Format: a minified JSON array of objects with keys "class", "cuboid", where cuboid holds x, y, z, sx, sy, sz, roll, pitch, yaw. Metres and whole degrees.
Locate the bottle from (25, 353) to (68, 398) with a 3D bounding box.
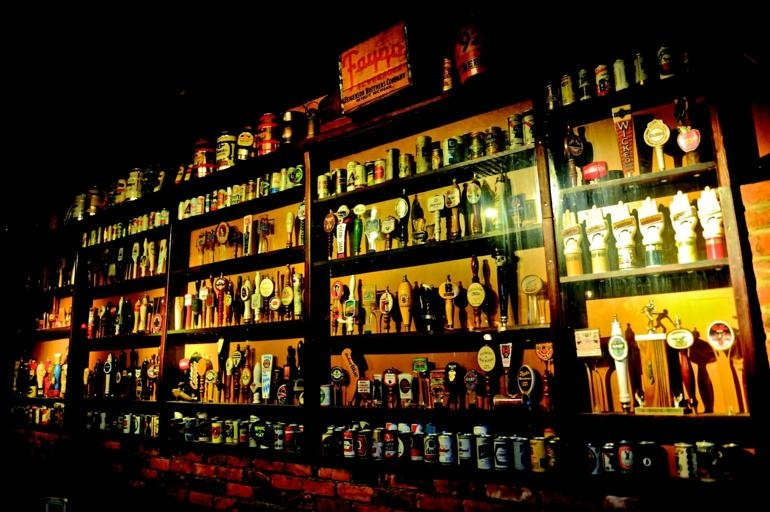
[{"class":"bottle","cuboid":[-3.819,1.369,7.184,0.488,0.466,0.049,-15,-24,26]}]
